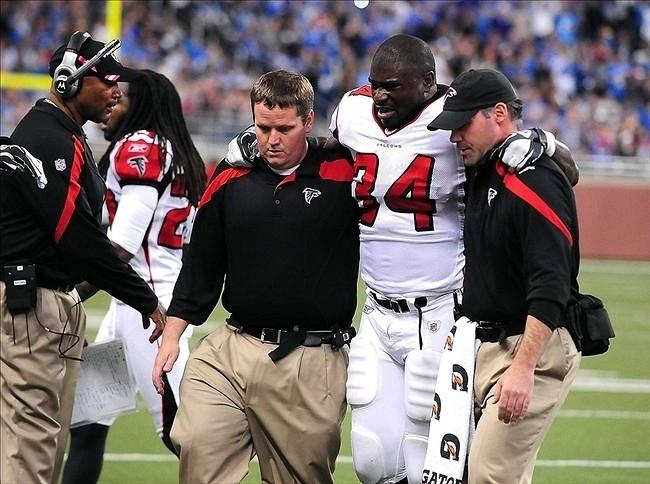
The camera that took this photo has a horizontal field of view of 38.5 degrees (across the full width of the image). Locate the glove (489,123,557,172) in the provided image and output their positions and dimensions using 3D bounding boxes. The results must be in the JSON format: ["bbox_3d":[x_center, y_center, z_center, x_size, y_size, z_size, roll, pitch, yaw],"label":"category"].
[{"bbox_3d":[0.931,-0.444,4.340,0.253,0.118,0.183,-2,39,49],"label":"glove"}]

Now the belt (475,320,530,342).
[{"bbox_3d":[0.824,0.425,4.429,0.145,0.088,0.112,-2,-15,24],"label":"belt"}]

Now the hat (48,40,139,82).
[{"bbox_3d":[-1.148,-0.941,4.793,0.523,0.208,0.149,19,28,36],"label":"hat"}]

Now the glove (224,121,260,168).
[{"bbox_3d":[-0.399,-0.492,4.754,0.124,0.210,0.190,-18,29,-38],"label":"glove"}]

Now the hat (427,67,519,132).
[{"bbox_3d":[0.702,-0.721,4.531,0.481,0.249,0.302,-22,18,-12],"label":"hat"}]
